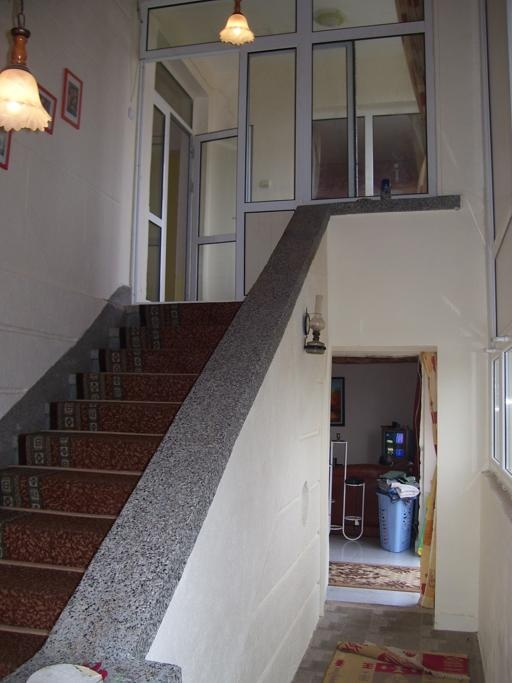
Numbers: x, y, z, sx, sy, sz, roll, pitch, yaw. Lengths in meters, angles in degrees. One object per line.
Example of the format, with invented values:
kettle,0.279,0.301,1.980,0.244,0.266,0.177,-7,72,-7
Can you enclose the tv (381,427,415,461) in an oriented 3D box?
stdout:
tv,2.000,1.412,7.060,0.377,0.669,0.472,0,2,11

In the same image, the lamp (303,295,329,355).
lamp,0.329,-0.090,2.637,0.103,0.294,0.111,4,3,10

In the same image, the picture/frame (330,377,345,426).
picture/frame,1.323,0.984,7.848,0.202,0.725,0.338,-3,12,24

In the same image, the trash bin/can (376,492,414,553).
trash bin/can,1.598,2.069,5.841,0.483,0.890,0.519,-1,-1,4
